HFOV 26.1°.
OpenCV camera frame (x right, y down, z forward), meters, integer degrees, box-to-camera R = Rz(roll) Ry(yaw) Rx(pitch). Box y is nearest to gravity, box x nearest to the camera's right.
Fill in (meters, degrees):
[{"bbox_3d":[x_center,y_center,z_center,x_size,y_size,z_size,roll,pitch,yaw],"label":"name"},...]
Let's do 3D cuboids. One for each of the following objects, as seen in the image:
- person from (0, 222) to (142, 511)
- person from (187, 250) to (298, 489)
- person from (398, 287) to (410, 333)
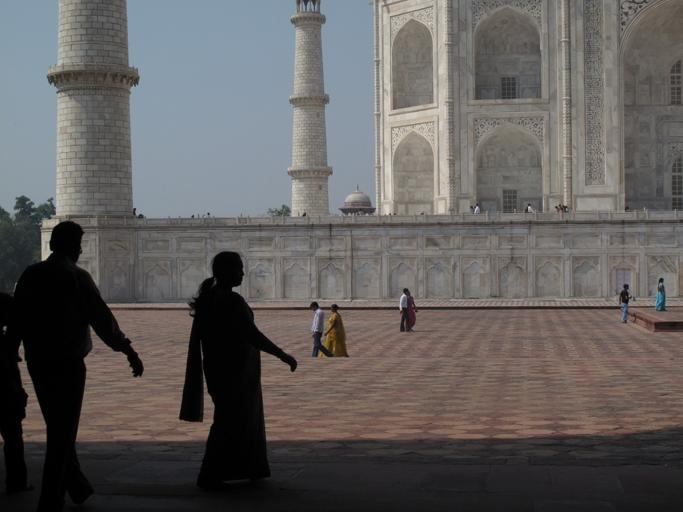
[{"bbox_3d":[-3.884,1.503,20.676,1.480,3.954,0.768,-2,3,-11],"label":"person"},{"bbox_3d":[-1.625,1.580,21.026,1.294,3.294,0.611,-2,3,-6],"label":"person"},{"bbox_3d":[1.340,1.139,32.348,0.229,0.920,0.586,-2,3,2],"label":"person"}]
